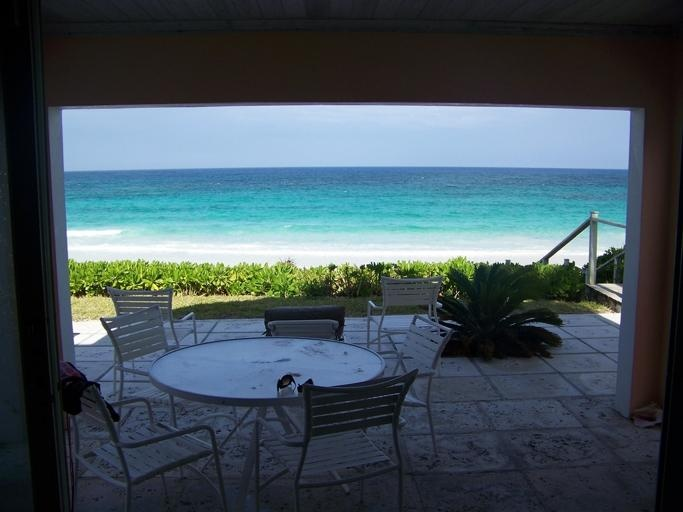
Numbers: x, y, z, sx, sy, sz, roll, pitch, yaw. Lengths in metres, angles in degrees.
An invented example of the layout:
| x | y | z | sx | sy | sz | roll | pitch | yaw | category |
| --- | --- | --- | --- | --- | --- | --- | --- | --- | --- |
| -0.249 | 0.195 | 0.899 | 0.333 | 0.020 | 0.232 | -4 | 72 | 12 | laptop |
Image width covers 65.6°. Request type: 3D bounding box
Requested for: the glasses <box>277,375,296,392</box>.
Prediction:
| x | y | z | sx | sy | sz | roll | pitch | yaw | category |
| --- | --- | --- | --- | --- | --- | --- | --- | --- | --- |
| -0.353 | 0.818 | 3.390 | 0.087 | 0.056 | 0.113 | 3 | 22 | -1 | glasses |

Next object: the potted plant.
| x | y | z | sx | sy | sz | roll | pitch | yaw | category |
| --- | --- | --- | --- | --- | --- | --- | --- | --- | --- |
| 2.034 | 0.646 | 7.189 | 1.883 | 1.033 | 1.770 | 2 | -1 | -13 | potted plant |
